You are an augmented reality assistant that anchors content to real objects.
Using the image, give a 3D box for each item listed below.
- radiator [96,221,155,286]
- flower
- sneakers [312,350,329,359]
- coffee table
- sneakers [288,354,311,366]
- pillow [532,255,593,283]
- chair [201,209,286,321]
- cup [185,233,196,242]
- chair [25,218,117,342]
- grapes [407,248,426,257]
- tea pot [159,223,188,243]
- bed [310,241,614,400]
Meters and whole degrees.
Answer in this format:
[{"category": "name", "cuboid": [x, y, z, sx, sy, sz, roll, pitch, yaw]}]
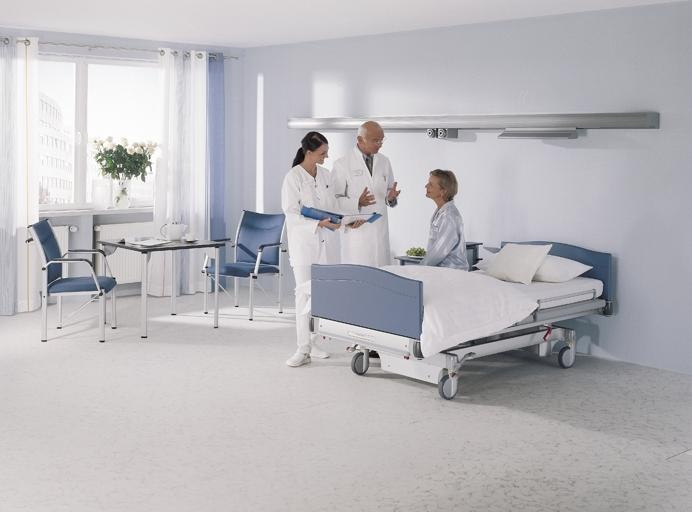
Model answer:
[{"category": "radiator", "cuboid": [-2.529, -0.015, 6.331, 0.776, 0.765, 0.057, -3, 7, -30]}, {"category": "flower", "cuboid": [-2.691, -1.006, 7.003, 0.881, 0.878, 0.760, 2, 0, 14]}, {"category": "sneakers", "cuboid": [-0.227, 0.839, 4.741, 0.122, 0.042, 0.064, 1, 5, 34]}, {"category": "coffee table", "cuboid": [-1.991, 0.288, 5.821, 1.234, 0.841, 1.251, 1, 0, -32]}, {"category": "sneakers", "cuboid": [-0.382, 0.855, 4.590, 0.181, 0.075, 0.076, -2, 5, -42]}, {"category": "pillow", "cuboid": [1.788, 0.119, 4.642, 0.297, 0.090, 0.297, -5, 6, 7]}, {"category": "chair", "cuboid": [-1.092, 0.088, 6.125, 0.729, 1.101, 0.784, 4, 6, 23]}, {"category": "cup", "cuboid": [-1.577, -0.187, 5.633, 0.083, 0.059, 0.082, 0, 12, 0]}, {"category": "chair", "cuboid": [-2.597, 0.237, 5.318, 0.745, 1.033, 0.679, 2, 7, -9]}, {"category": "grapes", "cuboid": [0.698, -0.033, 5.519, 0.108, 0.059, 0.111, 5, 4, 28]}, {"category": "tea pot", "cuboid": [-1.796, -0.236, 5.811, 0.346, 0.229, 0.228, -3, 9, -19]}, {"category": "bed", "cuboid": [0.957, 0.396, 4.256, 1.724, 0.777, 1.261, -4, 6, -38]}]
